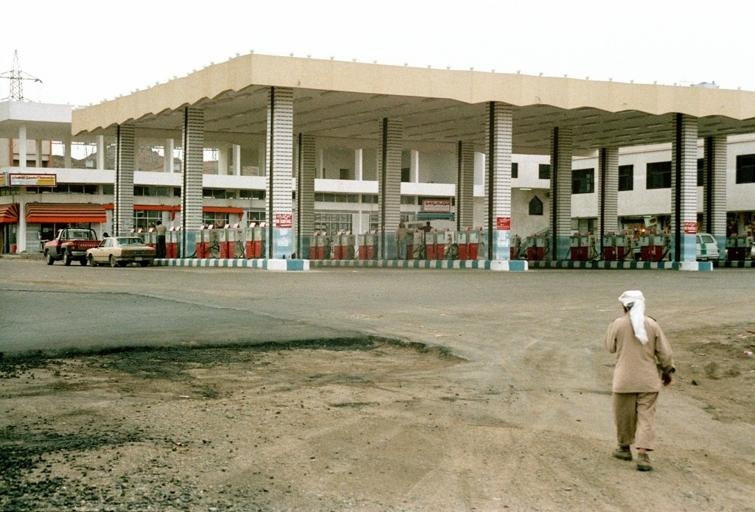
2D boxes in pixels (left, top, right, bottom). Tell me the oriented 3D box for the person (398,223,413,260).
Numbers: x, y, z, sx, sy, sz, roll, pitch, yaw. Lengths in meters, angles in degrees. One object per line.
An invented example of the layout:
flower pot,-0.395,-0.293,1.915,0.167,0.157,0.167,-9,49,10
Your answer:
person,1.326,-0.704,39.064,0.741,1.730,0.857,3,8,1

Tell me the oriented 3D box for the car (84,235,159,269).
car,-11.662,-0.109,36.578,3.535,1.499,1.651,9,11,43

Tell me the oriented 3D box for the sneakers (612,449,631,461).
sneakers,2.535,2.065,8.343,0.098,0.112,0.183,7,3,-44

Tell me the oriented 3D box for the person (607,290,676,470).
person,2.651,1.272,8.326,0.669,1.747,0.644,7,10,26

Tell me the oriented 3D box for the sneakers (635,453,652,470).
sneakers,2.702,2.101,8.167,0.187,0.151,0.148,1,8,-5
